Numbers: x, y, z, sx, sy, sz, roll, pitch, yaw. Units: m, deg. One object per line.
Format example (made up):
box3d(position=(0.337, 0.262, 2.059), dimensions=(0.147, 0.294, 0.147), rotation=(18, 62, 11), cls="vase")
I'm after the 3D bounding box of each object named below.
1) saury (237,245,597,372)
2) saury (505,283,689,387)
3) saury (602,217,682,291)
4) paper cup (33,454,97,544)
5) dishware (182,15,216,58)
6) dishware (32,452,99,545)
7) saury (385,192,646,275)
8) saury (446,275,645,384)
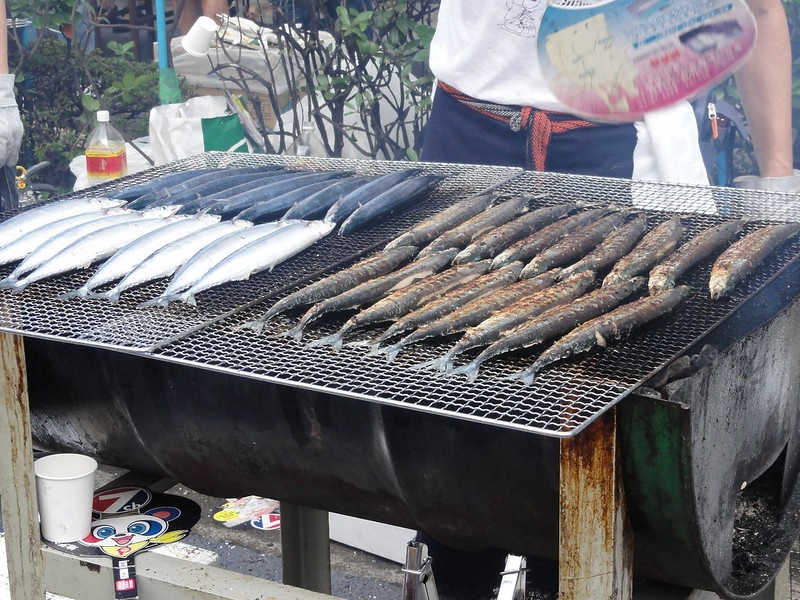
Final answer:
box3d(position=(0.057, 0.027, 2.583), dimensions=(0.634, 0.106, 0.119), rotation=(-16, 34, -23), cls="saury")
box3d(position=(0.454, 0.084, 2.467), dimensions=(0.427, 0.053, 0.067), rotation=(-20, 40, -16), cls="saury")
box3d(position=(0.669, -0.143, 2.819), dimensions=(0.098, 0.057, 0.465), rotation=(13, 28, 34), cls="saury")
box3d(position=(-0.857, 0.500, 2.833), dimensions=(0.227, 0.156, 0.205), rotation=(-3, 9, -19), cls="paper cup")
box3d(position=(-1.038, -1.365, 5.780), dimensions=(0.195, 0.188, 0.387), rotation=(-5, 9, -11), cls="dishware")
box3d(position=(-0.854, 0.507, 2.839), dimensions=(0.184, 0.161, 0.173), rotation=(-3, 8, -33), cls="dishware")
box3d(position=(0.323, -0.170, 2.933), dimensions=(0.522, 0.080, 0.120), rotation=(-22, 18, -38), cls="saury")
box3d(position=(0.340, 0.072, 2.484), dimensions=(0.452, 0.061, 0.071), rotation=(-20, 45, -18), cls="saury")
